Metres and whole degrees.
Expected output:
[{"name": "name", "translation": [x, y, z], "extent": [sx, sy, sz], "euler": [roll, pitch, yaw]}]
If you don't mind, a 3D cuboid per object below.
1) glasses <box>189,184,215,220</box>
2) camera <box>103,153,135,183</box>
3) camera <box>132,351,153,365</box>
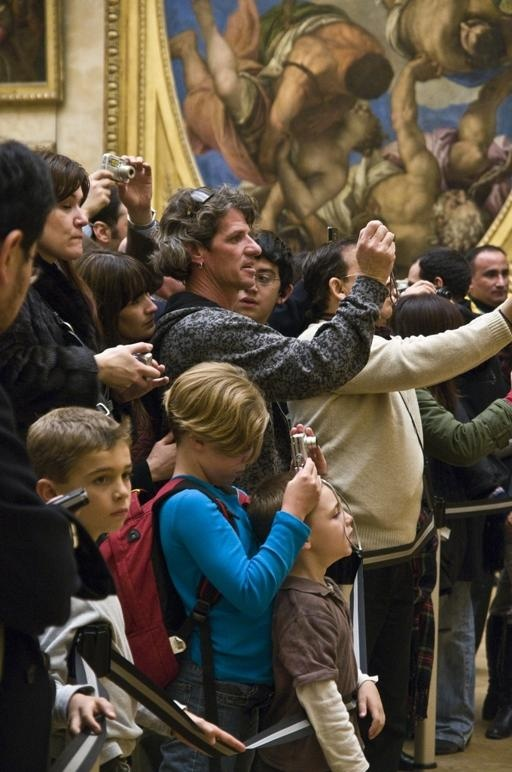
[{"name": "glasses", "translation": [-0.132, -0.470, 2.510], "extent": [0.066, 0.085, 0.033], "euler": [18, 4, 36]}, {"name": "camera", "translation": [-0.437, -0.701, 3.088], "extent": [0.106, 0.075, 0.036], "euler": [25, 44, 28]}, {"name": "camera", "translation": [-0.255, -0.063, 2.203], "extent": [0.057, 0.027, 0.031], "euler": [4, 4, -17]}]
